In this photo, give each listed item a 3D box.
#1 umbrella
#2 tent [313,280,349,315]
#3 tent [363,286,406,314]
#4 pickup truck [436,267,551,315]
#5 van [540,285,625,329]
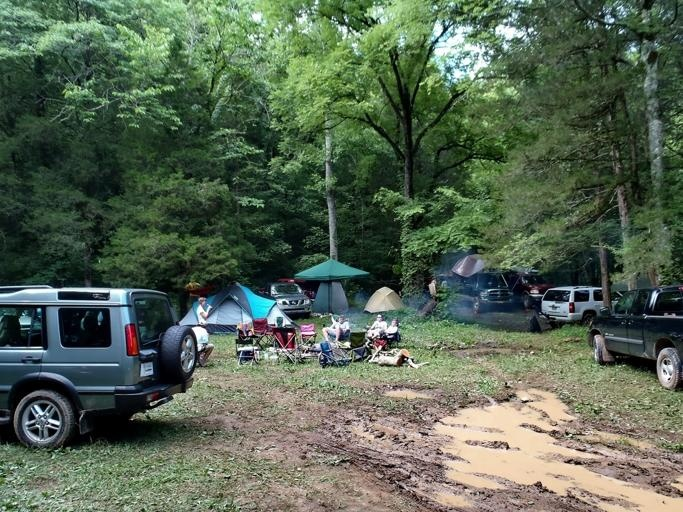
[{"bbox_3d":[-0.570,1.442,29.149,3.012,2.343,2.573,-1,2,44],"label":"umbrella"},{"bbox_3d":[-0.445,1.848,30.171,1.531,1.309,1.501,0,3,21],"label":"tent"},{"bbox_3d":[1.821,1.950,29.144,1.344,0.683,1.229,1,5,23],"label":"tent"},{"bbox_3d":[7.173,1.610,31.326,2.336,1.908,6.088,0,-1,-2],"label":"pickup truck"},{"bbox_3d":[8.864,1.815,24.891,2.859,1.287,1.556,-8,5,-15],"label":"van"}]
